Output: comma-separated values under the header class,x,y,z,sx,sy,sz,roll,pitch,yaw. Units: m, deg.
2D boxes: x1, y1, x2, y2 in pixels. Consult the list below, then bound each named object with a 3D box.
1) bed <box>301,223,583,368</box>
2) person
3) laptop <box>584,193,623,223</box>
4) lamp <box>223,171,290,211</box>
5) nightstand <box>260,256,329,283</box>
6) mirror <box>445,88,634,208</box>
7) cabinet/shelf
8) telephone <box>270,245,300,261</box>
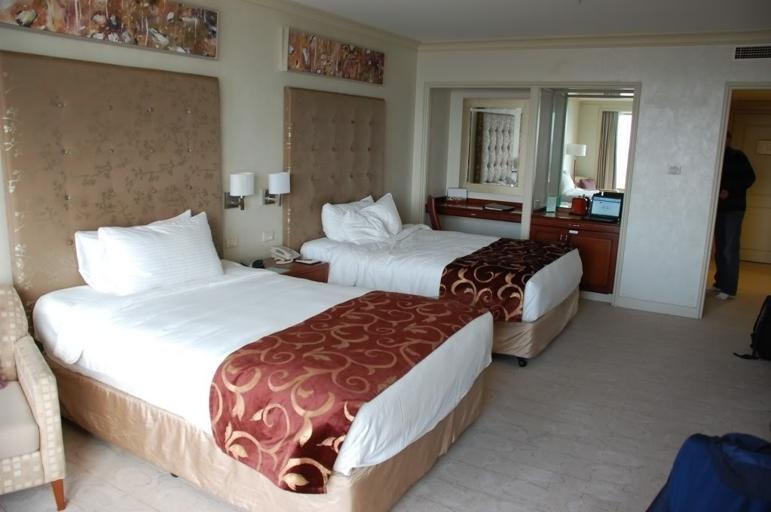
class,x,y,z,sx,sy,sz,roll,pitch,yaw
bed,0.615,0.171,6.104,2.808,0.981,2.057,10,18,30
person,4.618,-0.538,6.906,0.390,2.172,0.570,9,17,32
laptop,2.902,-0.684,6.880,0.453,0.363,0.430,10,18,30
lamp,-1.284,-0.688,5.385,0.214,0.376,0.814,10,17,35
nightstand,-0.937,0.130,5.488,0.392,0.230,0.366,11,19,30
mirror,2.307,-1.571,7.441,1.911,1.148,0.137,12,23,36
cabinet/shelf,2.345,0.074,6.963,1.199,1.041,0.637,10,-20,-22
telephone,-1.098,-0.027,5.628,0.207,0.079,0.206,7,14,20
